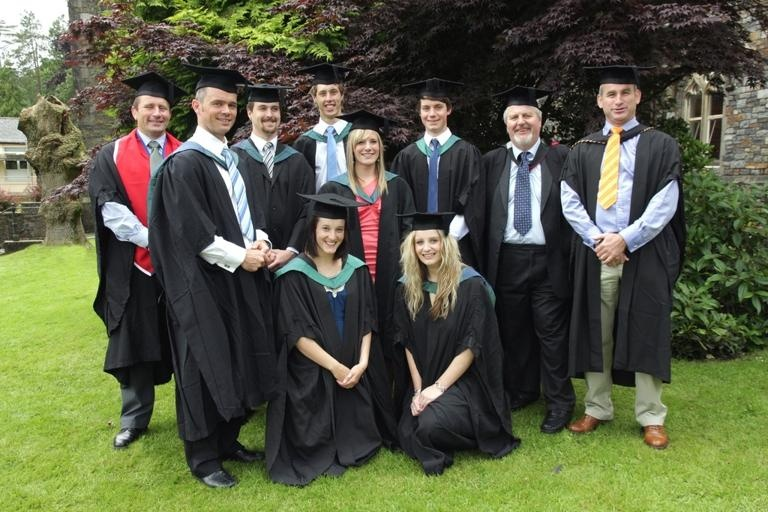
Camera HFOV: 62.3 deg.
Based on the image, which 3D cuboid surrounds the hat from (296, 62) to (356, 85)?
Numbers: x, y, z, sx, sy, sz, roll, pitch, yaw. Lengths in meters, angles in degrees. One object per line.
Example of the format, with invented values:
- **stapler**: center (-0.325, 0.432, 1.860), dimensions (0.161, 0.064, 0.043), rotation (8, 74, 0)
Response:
- **hat**: center (-0.643, -2.018, 7.098), dimensions (0.701, 0.235, 0.681), rotation (-3, 2, -6)

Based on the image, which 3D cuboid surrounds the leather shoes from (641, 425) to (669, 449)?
- **leather shoes**: center (2.494, 1.661, 5.836), dimensions (0.210, 0.168, 0.172), rotation (3, 10, 23)

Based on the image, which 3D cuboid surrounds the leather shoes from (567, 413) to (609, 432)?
- **leather shoes**: center (2.008, 1.638, 6.194), dimensions (0.430, 0.156, 0.142), rotation (6, -10, -28)

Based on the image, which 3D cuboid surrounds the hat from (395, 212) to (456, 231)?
- **hat**: center (0.417, -0.331, 6.208), dimensions (0.433, 0.202, 0.535), rotation (-2, 8, -6)

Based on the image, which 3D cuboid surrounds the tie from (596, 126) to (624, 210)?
- **tie**: center (2.124, -0.787, 6.010), dimensions (0.185, 0.680, 0.183), rotation (2, 10, 19)

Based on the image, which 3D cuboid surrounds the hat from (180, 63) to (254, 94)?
- **hat**: center (-1.436, -1.599, 5.710), dimensions (0.425, 0.125, 0.434), rotation (2, -2, 34)

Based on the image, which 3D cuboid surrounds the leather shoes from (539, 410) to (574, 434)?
- **leather shoes**: center (1.656, 1.614, 6.169), dimensions (0.143, 0.137, 0.387), rotation (-6, -9, 34)

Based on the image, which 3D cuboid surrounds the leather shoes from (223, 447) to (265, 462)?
- **leather shoes**: center (-1.294, 1.817, 5.869), dimensions (0.441, 0.149, 0.140), rotation (0, -5, -1)

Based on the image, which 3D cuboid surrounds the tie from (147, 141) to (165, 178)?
- **tie**: center (-2.156, -0.929, 6.021), dimensions (0.128, 0.326, 0.243), rotation (-4, 9, -16)

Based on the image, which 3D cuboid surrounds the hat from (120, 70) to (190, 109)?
- **hat**: center (-2.186, -1.725, 6.151), dimensions (0.504, 0.231, 0.498), rotation (9, -14, -41)

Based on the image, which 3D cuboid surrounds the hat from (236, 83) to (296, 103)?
- **hat**: center (-1.184, -1.618, 6.347), dimensions (0.533, 0.159, 0.507), rotation (-2, 11, -10)

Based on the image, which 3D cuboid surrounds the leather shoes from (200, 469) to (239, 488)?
- **leather shoes**: center (-1.450, 1.932, 5.530), dimensions (0.326, 0.116, 0.173), rotation (4, 10, 29)
